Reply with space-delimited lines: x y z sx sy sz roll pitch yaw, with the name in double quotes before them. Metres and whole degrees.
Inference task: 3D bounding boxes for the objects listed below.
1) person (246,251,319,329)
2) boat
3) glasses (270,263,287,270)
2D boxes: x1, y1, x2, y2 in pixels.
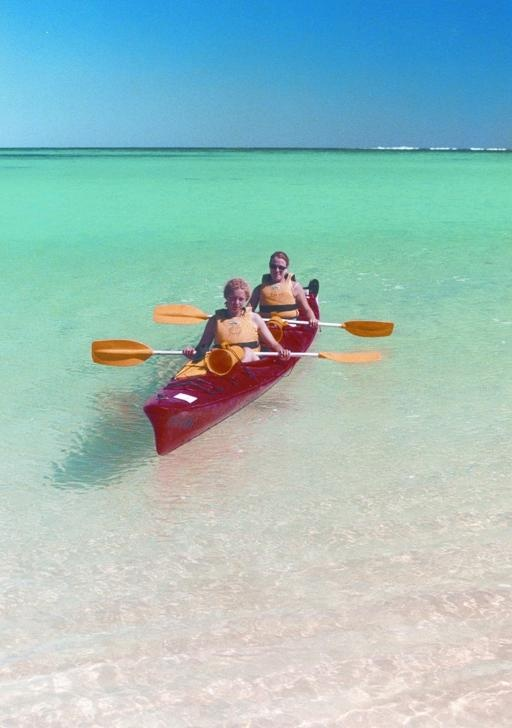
"person" 0.296 -0.824 9.098 0.785 1.049 0.468 -12 28 11
"boat" -0.157 0.100 7.010 0.676 0.431 2.899 2 16 22
"glasses" 0.304 -1.218 9.088 0.215 0.094 0.162 -5 13 -15
